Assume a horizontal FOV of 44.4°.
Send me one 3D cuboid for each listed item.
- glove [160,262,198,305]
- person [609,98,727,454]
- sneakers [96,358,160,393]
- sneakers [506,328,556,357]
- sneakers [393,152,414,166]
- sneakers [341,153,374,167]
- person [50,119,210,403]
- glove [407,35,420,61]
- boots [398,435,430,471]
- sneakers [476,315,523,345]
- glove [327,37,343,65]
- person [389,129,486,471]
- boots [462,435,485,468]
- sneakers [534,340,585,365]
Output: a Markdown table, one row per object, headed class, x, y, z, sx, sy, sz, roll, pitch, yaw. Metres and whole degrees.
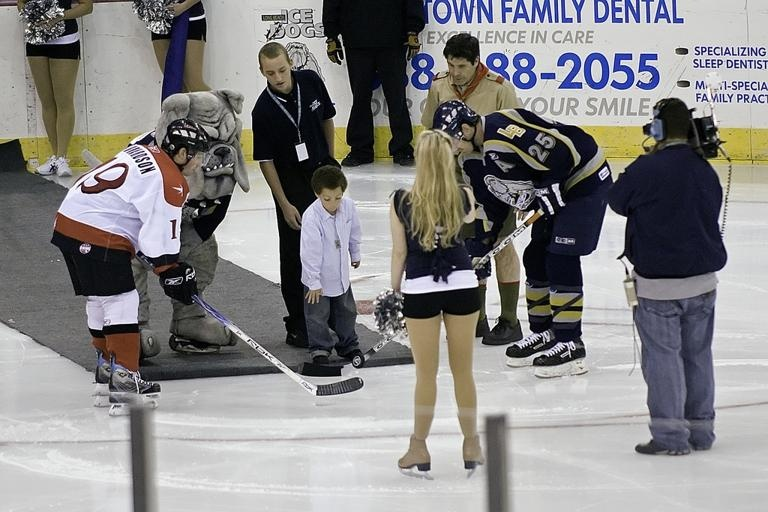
| class | x | y | z | sx | sy | sz | roll | pitch | yaw |
| --- | --- | --- | --- | --- | --- | --- | --- | --- | --- |
| glove | -1.167 | 0.172 | 5.484 | 0.226 | 0.211 | 0.166 | -7 | 4 | 21 |
| person | 1.451 | 0.093 | 4.740 | 0.574 | 1.733 | 0.577 | -2 | 13 | 6 |
| sneakers | -1.449 | 0.679 | 5.432 | 0.434 | 0.243 | 0.164 | 3 | 3 | -12 |
| sneakers | 0.948 | 0.570 | 6.079 | 0.394 | 0.150 | 0.128 | -11 | 15 | -30 |
| sneakers | 0.253 | -1.159 | 11.230 | 0.106 | 0.118 | 0.280 | -2 | 0 | -35 |
| sneakers | -0.283 | -1.170 | 11.351 | 0.417 | 0.169 | 0.147 | -1 | 10 | -30 |
| person | -1.394 | 0.031 | 5.362 | 0.884 | 1.549 | 0.531 | -8 | 13 | -19 |
| glove | 0.333 | -2.479 | 11.076 | 0.120 | 0.227 | 0.183 | 9 | 11 | 43 |
| boots | 0.132 | 0.901 | 4.317 | 0.181 | 0.167 | 0.086 | -10 | -5 | 39 |
| sneakers | 0.854 | 0.512 | 6.427 | 0.396 | 0.175 | 0.142 | 0 | 1 | -21 |
| glove | -0.567 | -2.473 | 11.278 | 0.196 | 0.263 | 0.097 | 19 | 29 | 37 |
| person | 0.247 | 0.150 | 4.574 | 0.445 | 1.477 | 1.013 | -3 | 13 | 4 |
| boots | 0.410 | 0.853 | 4.168 | 0.071 | 0.146 | 0.204 | -1 | -5 | 23 |
| sneakers | 1.098 | 0.605 | 5.860 | 0.375 | 0.162 | 0.125 | -5 | 7 | -8 |
